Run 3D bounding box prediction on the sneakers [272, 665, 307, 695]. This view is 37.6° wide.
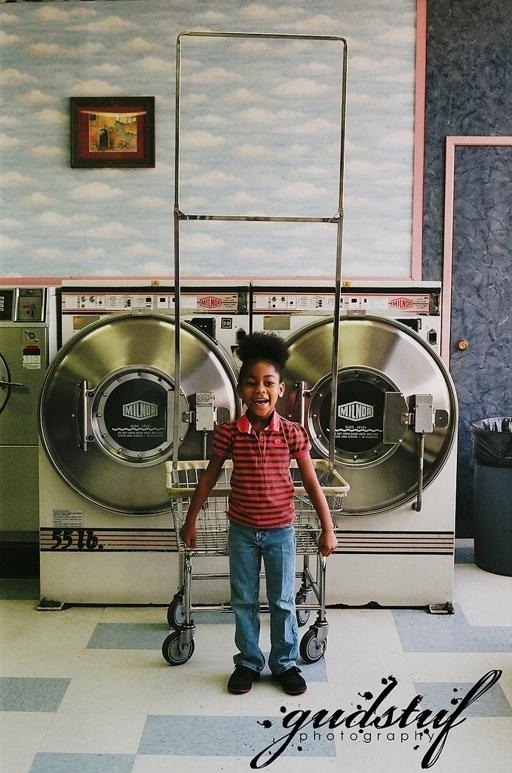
[{"bbox_3d":[0.114,0.920,2.341,0.051,0.049,0.127,2,-9,-17],"label":"sneakers"}]

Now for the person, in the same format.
[{"bbox_3d":[0.007,0.508,2.382,0.483,0.893,0.247,1,9,4],"label":"person"}]

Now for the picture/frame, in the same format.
[{"bbox_3d":[-0.690,-1.250,3.668,0.380,0.302,0.043,0,1,0],"label":"picture/frame"}]

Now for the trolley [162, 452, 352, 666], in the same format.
[{"bbox_3d":[-0.033,0.626,2.708,0.650,0.597,0.534,0,0,5],"label":"trolley"}]
